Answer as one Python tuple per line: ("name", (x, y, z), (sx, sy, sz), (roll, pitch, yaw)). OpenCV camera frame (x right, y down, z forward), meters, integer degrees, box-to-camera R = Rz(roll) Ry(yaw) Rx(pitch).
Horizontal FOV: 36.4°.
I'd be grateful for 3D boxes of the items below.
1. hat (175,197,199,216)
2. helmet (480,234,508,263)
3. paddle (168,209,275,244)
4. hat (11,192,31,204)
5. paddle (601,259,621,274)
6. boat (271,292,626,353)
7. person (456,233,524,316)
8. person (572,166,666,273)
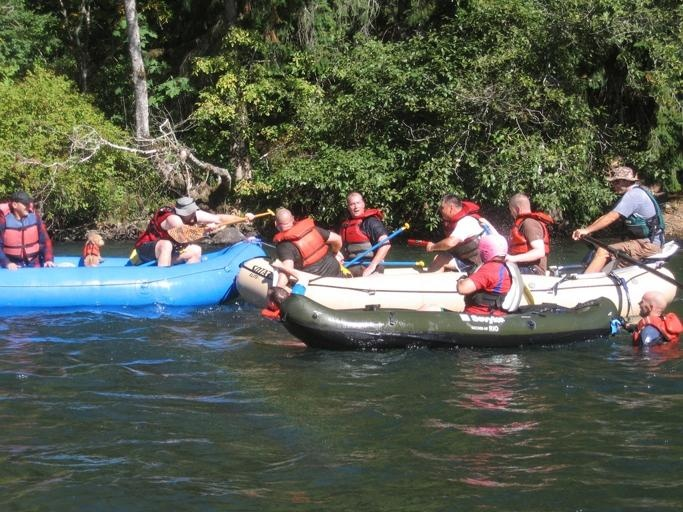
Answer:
("hat", (-2.354, -0.723, 15.746), (0.330, 0.289, 0.267), (-1, 4, -9))
("helmet", (1.844, -0.097, 13.297), (0.356, 0.322, 0.376), (-4, 21, -23))
("paddle", (-1.708, -0.365, 16.211), (2.003, 0.131, 0.551), (-10, 35, -35))
("hat", (-4.715, -0.840, 15.369), (0.247, 0.113, 0.162), (11, 16, -21))
("paddle", (3.812, 0.156, 14.971), (0.295, 0.065, 0.166), (-32, 30, 2))
("boat", (1.326, 0.946, 13.651), (3.162, 0.517, 1.361), (1, -4, -5))
("person", (1.871, 0.284, 13.567), (0.862, 0.964, 0.789), (-16, 31, -36))
("person", (3.894, -0.515, 15.128), (1.280, 1.494, 1.203), (-1, 4, -7))
